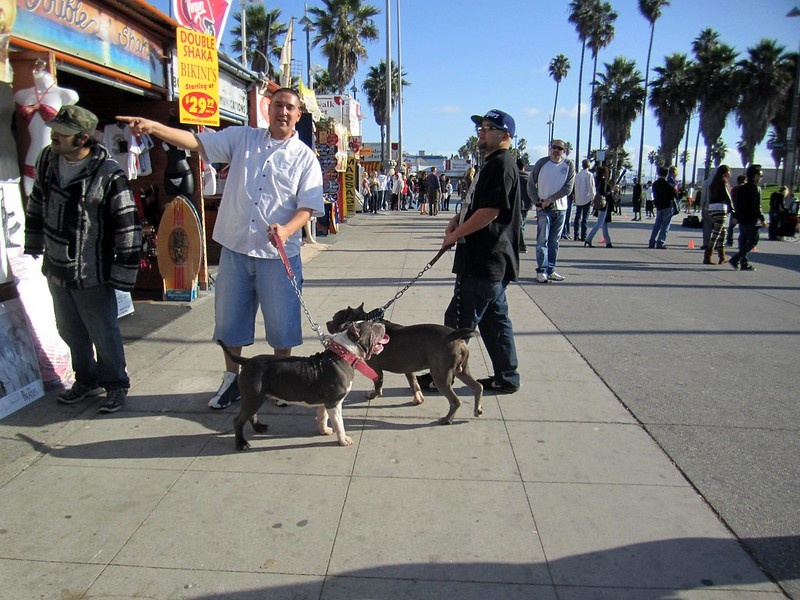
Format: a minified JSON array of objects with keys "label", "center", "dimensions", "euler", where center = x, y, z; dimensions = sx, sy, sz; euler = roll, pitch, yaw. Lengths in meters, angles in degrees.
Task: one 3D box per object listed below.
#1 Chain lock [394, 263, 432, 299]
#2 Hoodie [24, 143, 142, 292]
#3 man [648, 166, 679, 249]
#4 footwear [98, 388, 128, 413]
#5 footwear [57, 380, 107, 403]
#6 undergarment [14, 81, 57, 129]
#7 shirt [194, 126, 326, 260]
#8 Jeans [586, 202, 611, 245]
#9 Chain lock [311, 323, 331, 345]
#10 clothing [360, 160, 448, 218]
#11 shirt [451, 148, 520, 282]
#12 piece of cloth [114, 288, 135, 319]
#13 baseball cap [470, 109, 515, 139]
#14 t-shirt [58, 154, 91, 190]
[{"label":"Chain lock","center":[0.206,-0.276,9.266],"dimensions":[0.042,0.936,0.139],"euler":[22,-21,44]},{"label":"Hoodie","center":[-2.666,-0.736,4.748],"dimensions":[1.019,1.195,0.562],"euler":[11,13,5]},{"label":"man","center":[6.513,-2.251,13.981],"dimensions":[0.597,2.010,0.608],"euler":[-7,13,-34]},{"label":"footwear","center":[-2.452,0.861,4.822],"dimensions":[0.098,0.119,0.304],"euler":[1,4,-6]},{"label":"footwear","center":[-2.806,0.819,5.007],"dimensions":[0.379,0.188,0.134],"euler":[-1,6,-43]},{"label":"undergarment","center":[-3.321,-1.778,5.207],"dimensions":[0.345,0.361,0.194],"euler":[2,15,-19]},{"label":"shirt","center":[-1.149,-0.890,4.703],"dimensions":[1.008,1.057,0.547],"euler":[-1,13,-8]},{"label":"Jeans","center":[5.228,-1.979,14.655],"dimensions":[0.705,1.194,0.637],"euler":[4,-21,28]},{"label":"Chain lock","center":[-0.802,0.359,5.692],"dimensions":[0.273,0.089,0.154],"euler":[39,-9,25]},{"label":"clothing","center":[-0.106,-6.616,31.266],"dimensions":[3.830,1.824,2.946],"euler":[1,4,-1]},{"label":"shirt","center":[0.811,-0.738,5.118],"dimensions":[0.616,1.194,0.499],"euler":[1,12,2]},{"label":"piece of cloth","center":[-3.172,0.062,6.500],"dimensions":[0.027,0.286,0.274],"euler":[-7,25,15]},{"label":"baseball cap","center":[0.869,-1.562,5.029],"dimensions":[0.286,0.214,0.260],"euler":[1,13,2]},{"label":"t-shirt","center":[-2.641,-1.041,4.593],"dimensions":[0.179,0.270,0.094],"euler":[4,-5,-2]}]
